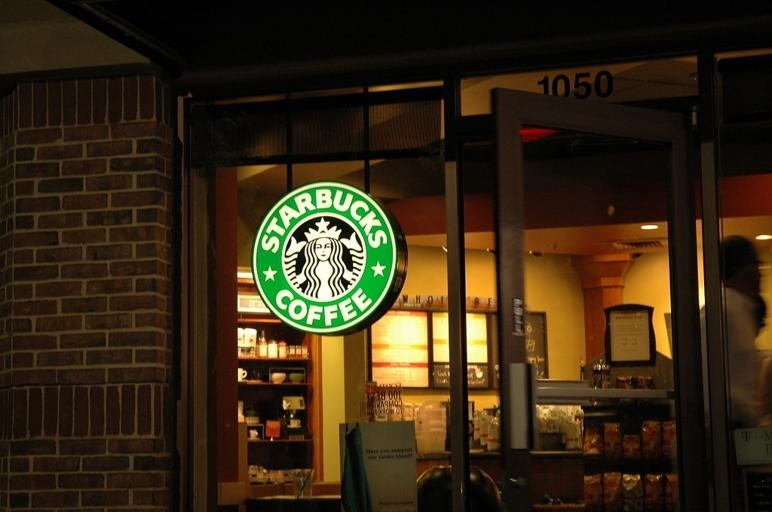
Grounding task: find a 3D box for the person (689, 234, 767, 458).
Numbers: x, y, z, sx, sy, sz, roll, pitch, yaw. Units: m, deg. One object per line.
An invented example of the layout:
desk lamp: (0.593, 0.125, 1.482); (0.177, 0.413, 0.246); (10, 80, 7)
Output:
person: (1.991, 0.413, 6.924); (0.274, 1.059, 0.101); (1, -11, -13)
